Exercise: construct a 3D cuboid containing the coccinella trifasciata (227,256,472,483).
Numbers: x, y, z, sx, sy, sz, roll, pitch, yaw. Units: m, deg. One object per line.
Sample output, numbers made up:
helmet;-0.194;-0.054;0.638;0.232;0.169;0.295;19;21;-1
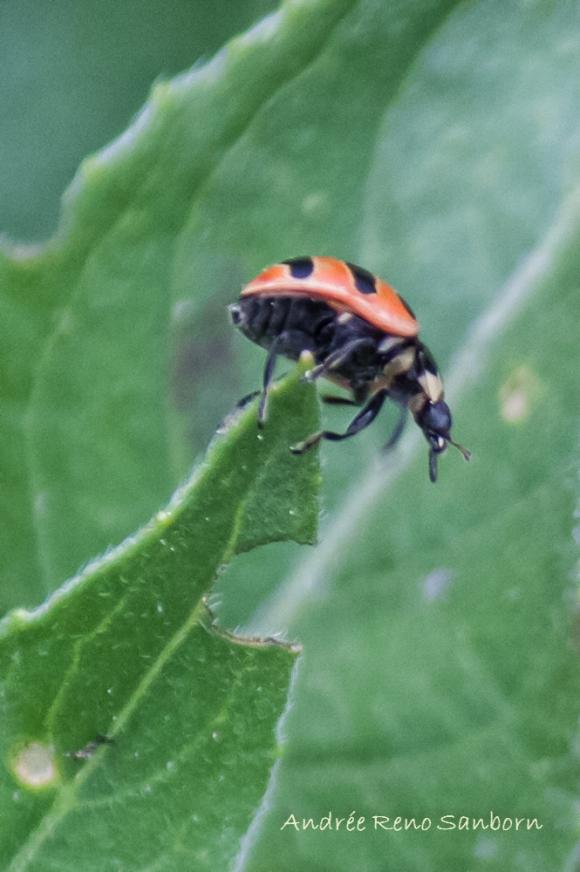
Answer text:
coccinella trifasciata;0.072;-0.062;1.099;0.198;0.214;0.235;-21;59;-1
